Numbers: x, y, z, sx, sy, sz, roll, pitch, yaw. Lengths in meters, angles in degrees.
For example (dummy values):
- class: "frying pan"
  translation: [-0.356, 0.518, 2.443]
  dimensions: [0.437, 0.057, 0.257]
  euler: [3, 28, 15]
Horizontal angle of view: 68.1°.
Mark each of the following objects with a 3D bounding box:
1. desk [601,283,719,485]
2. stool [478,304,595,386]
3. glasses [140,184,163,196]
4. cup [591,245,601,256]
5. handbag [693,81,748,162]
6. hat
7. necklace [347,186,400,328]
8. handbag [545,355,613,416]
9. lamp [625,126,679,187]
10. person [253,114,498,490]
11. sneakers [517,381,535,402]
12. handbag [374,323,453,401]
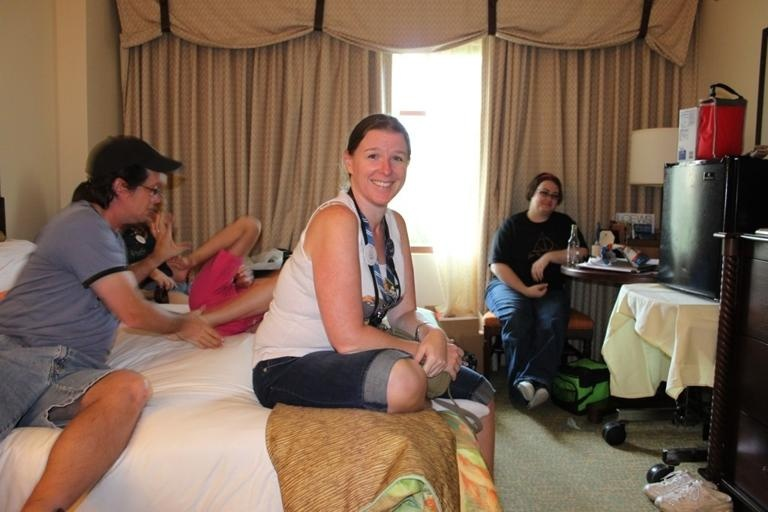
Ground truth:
- class: "desk"
  translation: [1.631, 0.517, 3.331]
  dimensions: [0.524, 0.534, 0.532]
  euler: [1, -5, 45]
- class: "stool"
  translation: [1.106, 0.481, 4.173]
  dimensions: [0.721, 0.495, 0.534]
  euler: [1, 9, 6]
- class: "glasses"
  translation: [-1.159, -0.328, 2.806]
  dimensions: [0.056, 0.018, 0.057]
  euler: [17, 6, 16]
- class: "cup"
  translation: [1.503, -0.036, 4.031]
  dimensions: [0.072, 0.121, 0.074]
  euler: [2, -7, 0]
- class: "handbag"
  translation: [1.978, -0.769, 3.320]
  dimensions: [0.234, 0.395, 0.263]
  euler: [4, 13, 28]
- class: "hat"
  translation: [-1.264, -0.490, 2.809]
  dimensions: [0.352, 0.141, 0.222]
  euler: [-4, 13, -23]
- class: "necklace"
  translation: [0.003, -0.006, 2.513]
  dimensions: [0.189, 0.540, 0.387]
  euler: [0, -12, 23]
- class: "handbag"
  translation: [1.363, 0.867, 3.906]
  dimensions: [0.392, 0.276, 0.361]
  euler: [-9, 6, 2]
- class: "lamp"
  translation: [1.984, -0.720, 4.353]
  dimensions: [0.420, 0.484, 0.413]
  euler: [-2, 3, -32]
- class: "person"
  translation: [0.019, 0.288, 2.477]
  dimensions: [1.123, 1.795, 1.039]
  euler: [-1, -6, -1]
- class: "sneakers"
  translation: [0.907, 0.858, 3.649]
  dimensions: [0.080, 0.146, 0.052]
  euler: [1, 22, 36]
- class: "handbag"
  translation: [0.126, 0.548, 2.582]
  dimensions: [0.311, 0.322, 0.141]
  euler: [-10, -17, -10]
